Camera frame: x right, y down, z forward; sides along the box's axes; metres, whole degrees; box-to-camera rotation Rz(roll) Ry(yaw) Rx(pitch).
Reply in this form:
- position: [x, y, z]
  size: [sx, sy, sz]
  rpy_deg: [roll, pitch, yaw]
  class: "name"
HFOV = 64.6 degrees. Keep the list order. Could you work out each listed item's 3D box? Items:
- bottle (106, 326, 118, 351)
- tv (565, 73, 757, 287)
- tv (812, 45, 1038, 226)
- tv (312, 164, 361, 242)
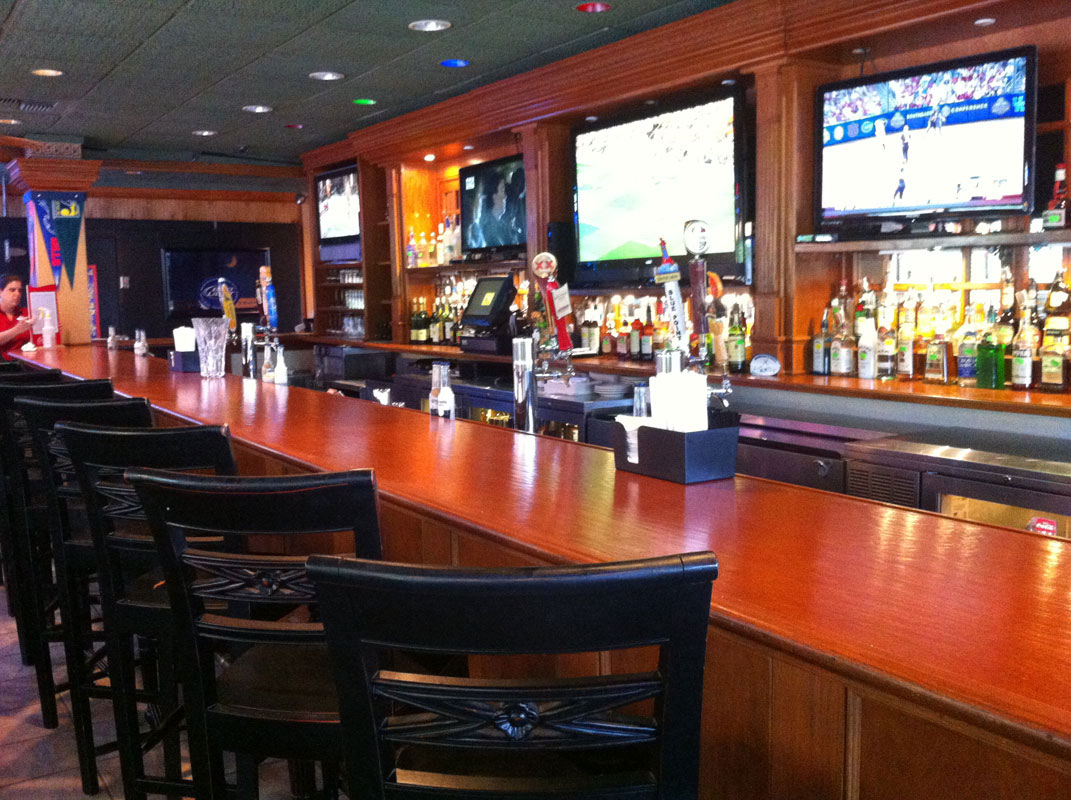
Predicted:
- position: [-3.359, -0.493, 6.693]
  size: [0.052, 0.155, 1.187]
  rpy_deg: [-3, 6, -27]
  class: "bottle"
- position: [0.777, -1.321, 5.015]
  size: [0.195, 1.251, 1.831]
  rpy_deg: [-4, 4, -34]
  class: "tv"
- position: [1.774, -1.162, 3.791]
  size: [1.088, 0.728, 0.084]
  rpy_deg: [3, 6, 44]
  class: "tv"
- position: [-2.002, -2.007, 8.550]
  size: [0.132, 0.645, 0.956]
  rpy_deg: [-5, 6, -37]
  class: "tv"
